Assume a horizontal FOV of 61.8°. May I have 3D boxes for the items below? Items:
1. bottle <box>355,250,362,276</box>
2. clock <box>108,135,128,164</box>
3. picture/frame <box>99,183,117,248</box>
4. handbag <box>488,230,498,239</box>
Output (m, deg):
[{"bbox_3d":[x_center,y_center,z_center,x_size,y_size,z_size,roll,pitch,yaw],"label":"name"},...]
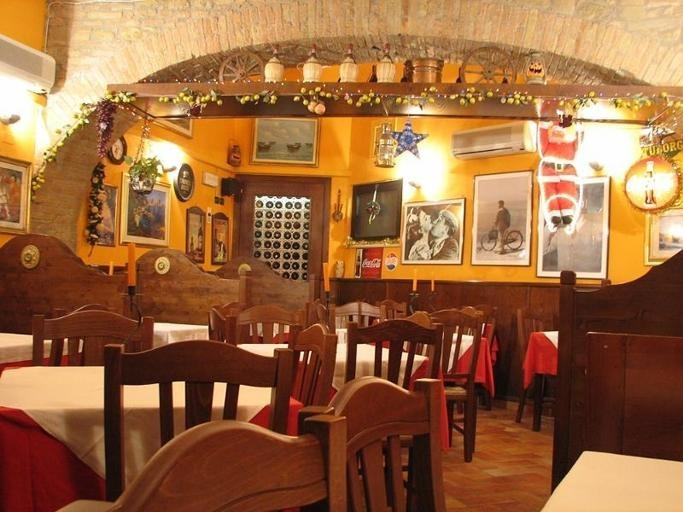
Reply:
[{"bbox_3d":[0.277,0.108,8.907,0.077,0.422,0.206,4,-3,-34],"label":"bottle"},{"bbox_3d":[-2.692,-1.286,6.834,0.203,0.370,0.412,3,-3,-20],"label":"clock"},{"bbox_3d":[-2.780,-0.479,6.742,0.129,0.738,0.378,2,-2,-6],"label":"picture/frame"},{"bbox_3d":[1.918,-0.271,7.199,0.024,0.105,0.102,2,23,-35],"label":"handbag"}]
